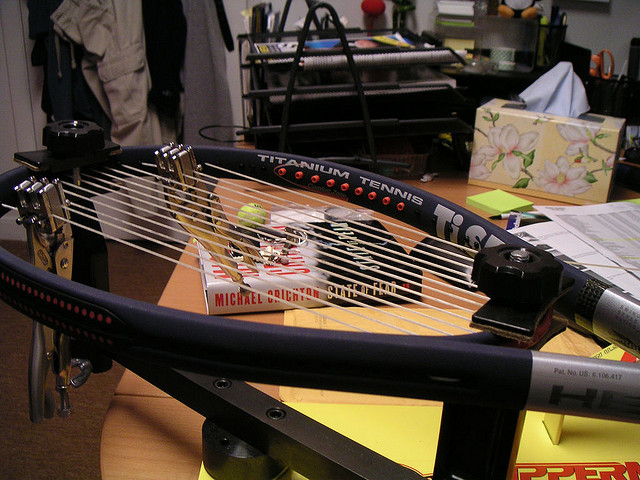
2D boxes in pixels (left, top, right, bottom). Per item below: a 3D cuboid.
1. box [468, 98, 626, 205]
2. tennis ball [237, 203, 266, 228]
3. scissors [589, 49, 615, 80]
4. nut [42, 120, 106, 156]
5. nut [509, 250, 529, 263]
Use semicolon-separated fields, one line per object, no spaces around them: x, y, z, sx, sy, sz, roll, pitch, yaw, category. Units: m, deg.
0.651;-0.252;1.557;0.481;0.248;0.271;21;32;37;box
-0.148;-0.052;1.196;0.055;0.058;0.057;1;18;0;tennis ball
0.938;-0.578;1.928;0.089;0.089;0.057;11;25;38;scissors
-0.410;-0.187;0.999;0.107;0.061;0.101;15;21;34;nut
0.227;0.018;0.651;0.014;0.008;0.014;-14;33;-19;nut
